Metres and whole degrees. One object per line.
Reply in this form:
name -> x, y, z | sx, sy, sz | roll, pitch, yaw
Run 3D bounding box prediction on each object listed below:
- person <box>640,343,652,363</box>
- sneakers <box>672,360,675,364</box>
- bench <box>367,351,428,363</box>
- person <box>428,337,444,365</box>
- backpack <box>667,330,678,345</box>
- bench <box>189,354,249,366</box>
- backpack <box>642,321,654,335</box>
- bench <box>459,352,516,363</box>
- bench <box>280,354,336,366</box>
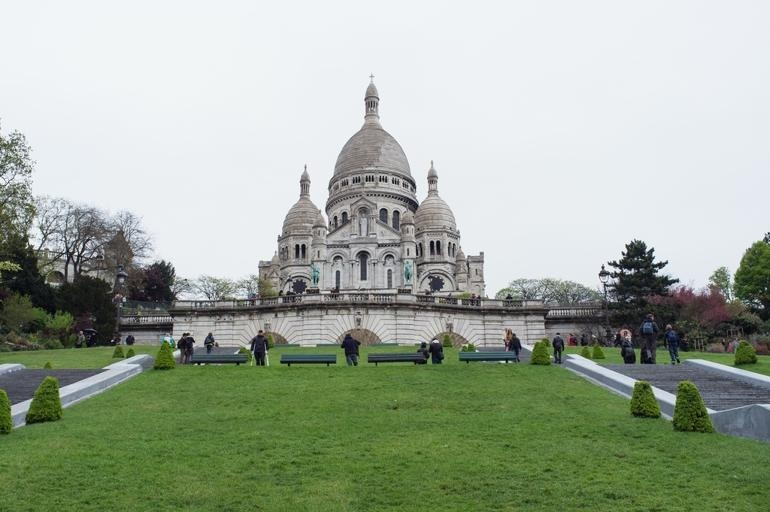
person -> 11.929, 4.495, 35.662 | 0.512, 0.839, 0.674 | -4, -10, 18
sneakers -> 13.166, 4.892, 35.684 | 0.109, 0.118, 0.118 | 3, -12, -11
bench -> 0.615, 4.796, 36.726 | 2.277, 0.686, 0.703 | 2, -12, -13
person -> 2.402, 4.509, 37.001 | 0.582, 1.202, 1.484 | -1, -9, 2
backpack -> 13.173, 3.731, 35.706 | 0.763, 0.653, 0.403 | 5, -11, -33
bench -> -7.894, 4.963, 37.409 | 2.769, 0.599, 1.900 | -1, -9, 2
backpack -> 11.851, 3.287, 35.220 | 0.585, 0.647, 0.459 | -3, 0, 14
bench -> 4.939, 4.848, 37.433 | 2.592, 0.558, 3.054 | -4, -10, 18
bench -> -3.567, 4.866, 36.582 | 2.514, 0.573, 2.579 | -1, -9, -2
